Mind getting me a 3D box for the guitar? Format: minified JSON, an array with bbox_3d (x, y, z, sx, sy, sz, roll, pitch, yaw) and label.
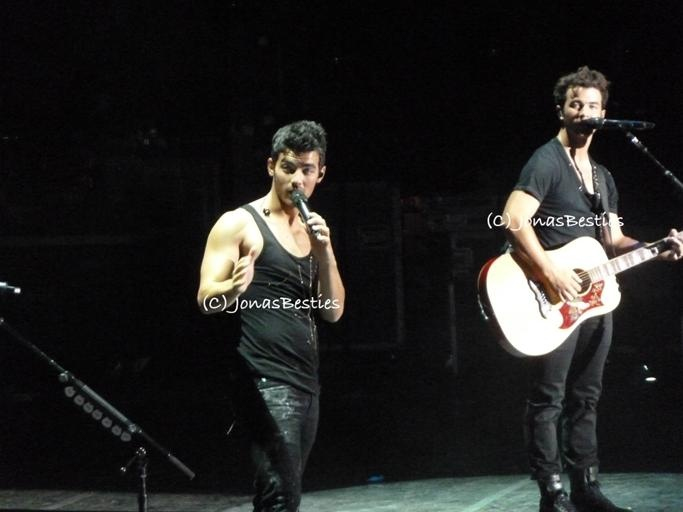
[{"bbox_3d":[1.172,0.200,3.068,0.935,0.527,0.219,-2,0,-15],"label":"guitar"}]
